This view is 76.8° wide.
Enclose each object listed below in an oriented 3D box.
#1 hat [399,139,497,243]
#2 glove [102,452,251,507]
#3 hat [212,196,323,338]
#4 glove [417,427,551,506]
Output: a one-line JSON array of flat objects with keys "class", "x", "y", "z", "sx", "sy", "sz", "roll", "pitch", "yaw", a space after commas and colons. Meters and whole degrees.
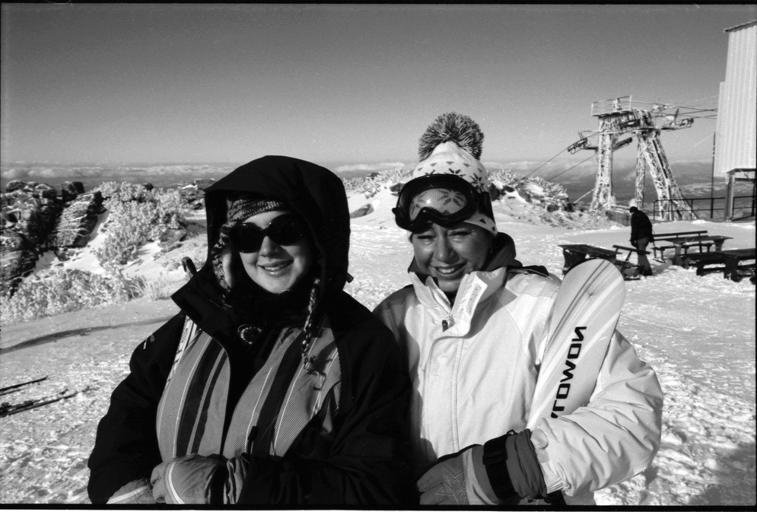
[{"class": "hat", "x": 0.492, "y": -0.431, "z": 3.638, "sx": 0.623, "sy": 0.635, "sz": 0.678, "roll": -1, "pitch": -19, "yaw": 3}, {"class": "glove", "x": -1.209, "y": 1.426, "z": 3.228, "sx": 1.139, "sy": 0.344, "sz": 0.411, "roll": -5, "pitch": -15, "yaw": 7}, {"class": "hat", "x": -0.892, "y": 0.074, "z": 3.680, "sx": 0.757, "sy": 0.968, "sz": 0.363, "roll": 4, "pitch": 2, "yaw": 10}, {"class": "glove", "x": 0.663, "y": 1.404, "z": 3.067, "sx": 0.775, "sy": 0.438, "sz": 0.305, "roll": -15, "pitch": -34, "yaw": 10}]
